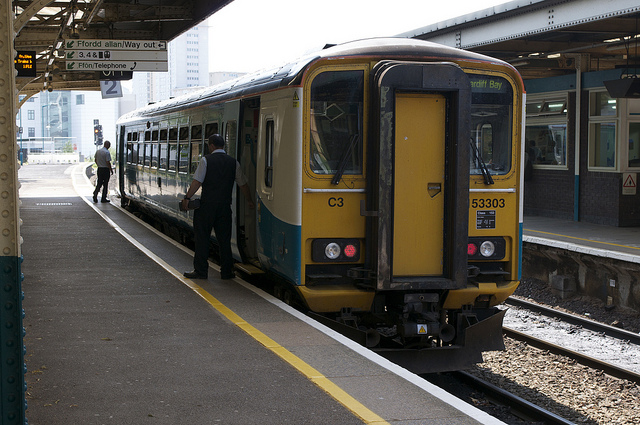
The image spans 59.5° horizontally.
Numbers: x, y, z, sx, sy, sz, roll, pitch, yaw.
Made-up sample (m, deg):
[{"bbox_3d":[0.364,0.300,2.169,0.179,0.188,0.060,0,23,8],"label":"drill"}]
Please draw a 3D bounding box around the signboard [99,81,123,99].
[{"bbox_3d":[-8.460,-5.023,22.589,0.742,0.628,0.846,-3,9,-26],"label":"signboard"}]

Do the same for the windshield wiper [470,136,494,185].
[{"bbox_3d":[2.330,-0.769,8.029,0.096,0.718,0.075,-31,-17,39],"label":"windshield wiper"}]

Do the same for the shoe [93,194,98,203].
[{"bbox_3d":[-9.317,-0.623,23.091,0.153,0.345,0.736,-2,9,-24],"label":"shoe"}]

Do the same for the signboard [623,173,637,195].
[{"bbox_3d":[9.229,-0.873,16.562,0.427,0.632,0.108,-1,6,-13],"label":"signboard"}]

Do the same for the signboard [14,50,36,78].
[{"bbox_3d":[-10.018,-5.107,18.956,0.613,0.945,0.836,-3,8,-29],"label":"signboard"}]

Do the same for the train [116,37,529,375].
[{"bbox_3d":[-1.896,-0.742,14.856,3.210,5.490,16.614,-1,4,-22],"label":"train"}]
